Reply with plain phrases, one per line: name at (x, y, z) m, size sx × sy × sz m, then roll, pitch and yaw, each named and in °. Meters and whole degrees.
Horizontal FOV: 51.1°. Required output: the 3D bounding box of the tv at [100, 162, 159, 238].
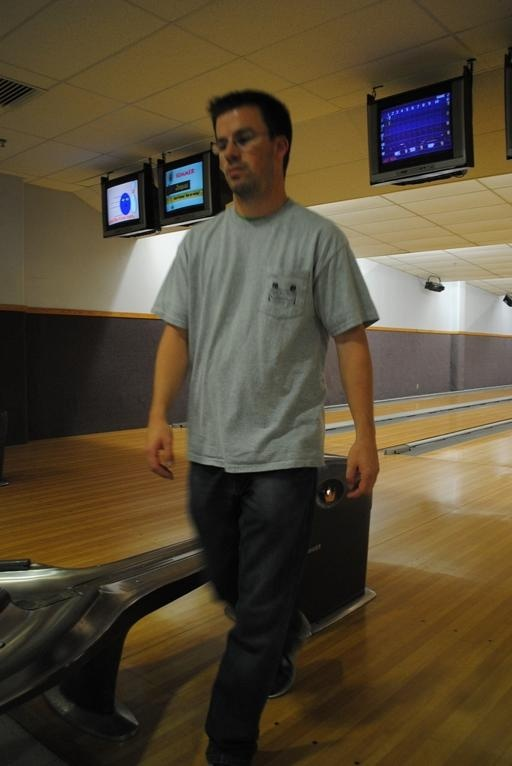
tv at (-1.027, -1.537, 4.588) m, size 0.589 × 0.565 × 0.329 m, roll 1°, pitch 5°, yaw 38°

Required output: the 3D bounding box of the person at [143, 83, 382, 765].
person at (-0.003, 0.051, 0.846) m, size 0.380 × 0.968 × 0.221 m, roll 0°, pitch -3°, yaw 12°

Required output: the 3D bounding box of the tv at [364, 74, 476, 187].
tv at (0.865, -1.318, 2.776) m, size 0.515 × 0.506 × 0.299 m, roll 3°, pitch 21°, yaw 35°
